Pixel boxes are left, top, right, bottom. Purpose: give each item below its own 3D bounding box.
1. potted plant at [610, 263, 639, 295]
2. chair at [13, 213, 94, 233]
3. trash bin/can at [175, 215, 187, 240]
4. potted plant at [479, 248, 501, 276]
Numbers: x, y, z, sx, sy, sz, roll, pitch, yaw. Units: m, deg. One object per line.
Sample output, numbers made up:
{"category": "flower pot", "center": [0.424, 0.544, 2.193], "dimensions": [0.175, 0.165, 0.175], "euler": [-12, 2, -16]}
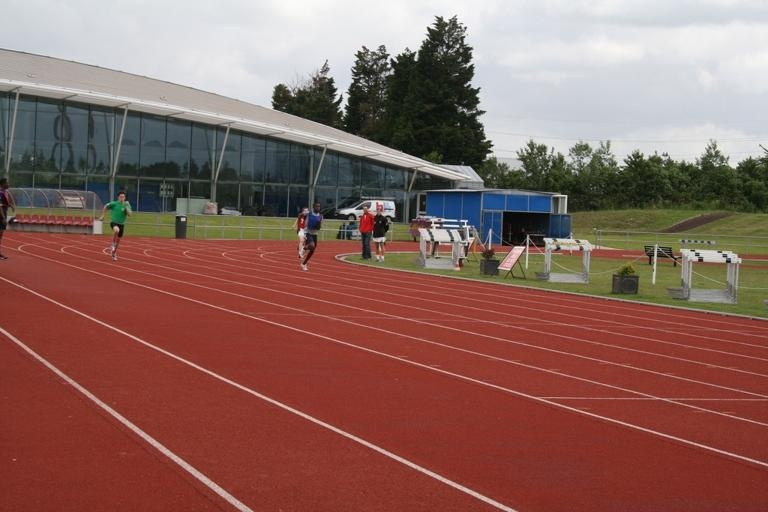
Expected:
{"category": "potted plant", "center": [6.827, 0.627, 18.601], "dimensions": [0.769, 1.099, 0.781], "euler": [0, 0, -12]}
{"category": "chair", "center": [-17.076, -1.645, 34.589], "dimensions": [3.928, 0.785, 1.198], "euler": [1, 9, -9]}
{"category": "trash bin/can", "center": [-10.762, -1.575, 35.607], "dimensions": [0.519, 1.213, 0.399], "euler": [-3, 10, -32]}
{"category": "potted plant", "center": [3.557, 0.194, 22.341], "dimensions": [0.617, 0.764, 1.207], "euler": [4, 9, 8]}
